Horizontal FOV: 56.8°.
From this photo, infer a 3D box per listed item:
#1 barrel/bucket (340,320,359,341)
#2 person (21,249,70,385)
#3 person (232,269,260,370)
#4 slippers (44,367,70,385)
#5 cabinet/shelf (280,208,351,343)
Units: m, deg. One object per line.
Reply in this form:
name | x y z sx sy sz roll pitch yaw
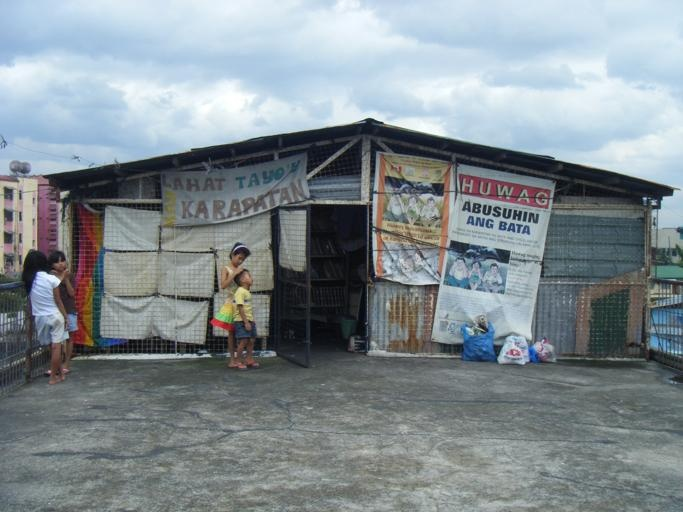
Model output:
barrel/bucket | 0.175 1.588 13.843 0.477 0.409 0.428 2 2 15
person | -4.518 0.920 9.621 0.583 2.037 0.432 -1 7 -23
person | -1.651 1.055 10.990 0.408 1.745 1.033 1 6 -8
slippers | -4.519 1.892 9.927 0.212 0.342 0.483 -3 -21 1
cabinet/shelf | -0.508 0.463 13.121 1.360 2.997 4.369 2 6 2
